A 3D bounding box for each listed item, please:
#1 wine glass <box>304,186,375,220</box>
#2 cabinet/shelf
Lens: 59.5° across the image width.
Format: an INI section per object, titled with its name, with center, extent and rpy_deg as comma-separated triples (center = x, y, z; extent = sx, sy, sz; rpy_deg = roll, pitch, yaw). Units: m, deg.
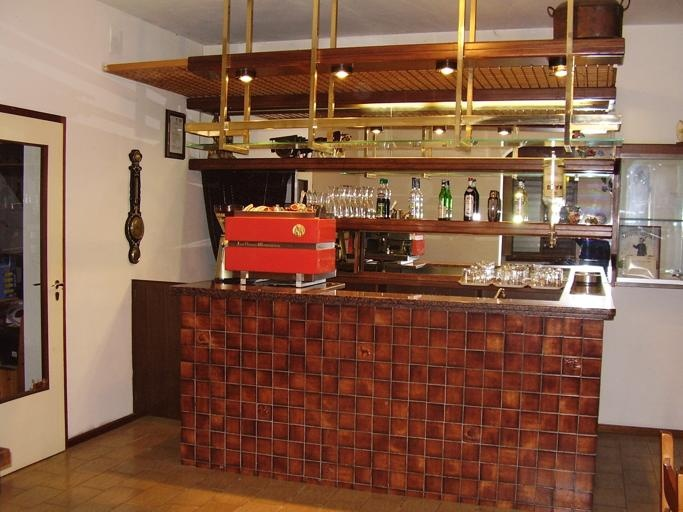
[wine glass]
center = 0.053, -0.517, 5.826
extent = 0.543, 0.209, 0.342
rpy_deg = 2, 2, 39
[cabinet/shelf]
center = 0.540, -0.434, 5.754
extent = 3.854, 1.154, 0.532
rpy_deg = 1, 13, 19
